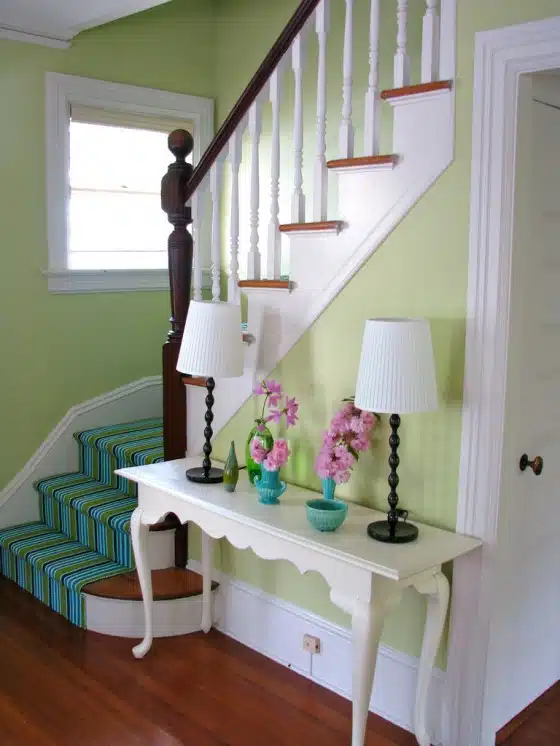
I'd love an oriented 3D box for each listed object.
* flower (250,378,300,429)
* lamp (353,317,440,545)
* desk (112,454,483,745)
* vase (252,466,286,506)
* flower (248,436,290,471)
[{"bbox_3d":[-0.012,0.092,2.013,0.102,0.160,0.085,11,34,20],"label":"flower"},{"bbox_3d":[0.286,0.135,1.512,0.186,0.552,0.286,1,2,14],"label":"lamp"},{"bbox_3d":[-0.025,0.680,1.862,0.414,0.671,1.221,-2,3,-43],"label":"desk"},{"bbox_3d":[-0.034,0.333,1.833,0.101,0.118,0.081,-1,7,-2],"label":"vase"},{"bbox_3d":[-0.034,0.226,1.778,0.093,0.104,0.091,10,15,41],"label":"flower"}]
